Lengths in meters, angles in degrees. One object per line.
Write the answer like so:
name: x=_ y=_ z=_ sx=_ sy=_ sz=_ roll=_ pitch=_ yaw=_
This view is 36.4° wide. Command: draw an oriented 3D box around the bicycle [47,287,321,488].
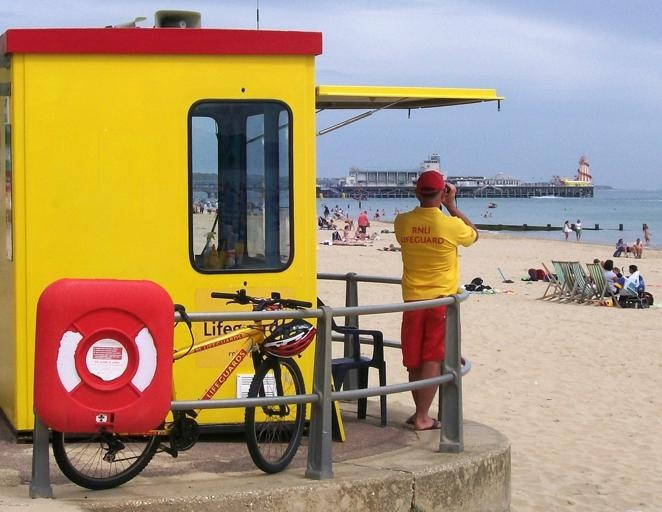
bicycle: x=-0.786 y=0.845 z=6.372 sx=1.945 sy=1.170 sz=0.825 roll=2 pitch=2 yaw=-37

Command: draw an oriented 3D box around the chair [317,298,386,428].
chair: x=0.274 y=0.834 z=7.984 sx=0.436 sy=0.600 sz=0.431 roll=-18 pitch=-16 yaw=16

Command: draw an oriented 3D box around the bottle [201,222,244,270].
bottle: x=-0.782 y=-0.033 z=7.285 sx=0.331 sy=0.335 sz=0.220 roll=0 pitch=-2 yaw=-29

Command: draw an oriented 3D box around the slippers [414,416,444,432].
slippers: x=0.749 y=1.290 z=7.734 sx=0.186 sy=0.050 sz=0.089 roll=-5 pitch=7 yaw=-22

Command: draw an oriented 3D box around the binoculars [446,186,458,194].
binoculars: x=0.921 y=-0.507 z=7.678 sx=0.044 sy=0.075 sz=0.070 roll=8 pitch=4 yaw=24

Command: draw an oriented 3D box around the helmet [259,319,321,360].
helmet: x=-0.310 y=0.514 z=6.632 sx=0.464 sy=0.212 sz=0.348 roll=-9 pitch=5 yaw=4

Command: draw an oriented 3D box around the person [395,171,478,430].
person: x=0.752 y=0.337 z=7.543 sx=0.662 sy=1.987 sz=0.616 roll=0 pitch=1 yaw=21
